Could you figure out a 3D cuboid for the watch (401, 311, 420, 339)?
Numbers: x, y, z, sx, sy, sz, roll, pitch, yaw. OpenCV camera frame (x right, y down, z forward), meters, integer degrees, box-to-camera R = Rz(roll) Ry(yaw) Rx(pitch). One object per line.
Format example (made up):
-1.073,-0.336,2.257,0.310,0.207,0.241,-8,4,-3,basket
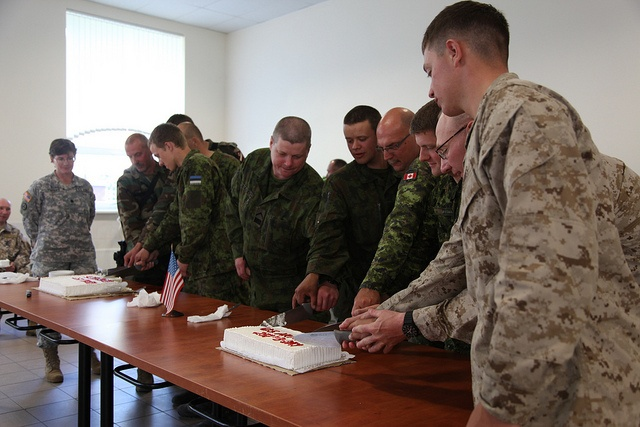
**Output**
0.339,0.436,2.019,0.070,0.098,0.101,-2,12,6,watch

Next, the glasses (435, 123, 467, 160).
0.537,-0.298,2.086,0.032,0.116,0.115,36,9,17,glasses

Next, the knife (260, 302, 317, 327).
-0.148,0.529,2.733,0.379,0.082,0.026,-15,13,-40,knife

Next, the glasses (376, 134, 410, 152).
0.450,-0.426,3.021,0.122,0.034,0.120,-34,16,-32,glasses

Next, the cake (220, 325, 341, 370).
-0.207,0.575,2.204,0.209,0.058,0.362,-2,2,-41,cake
